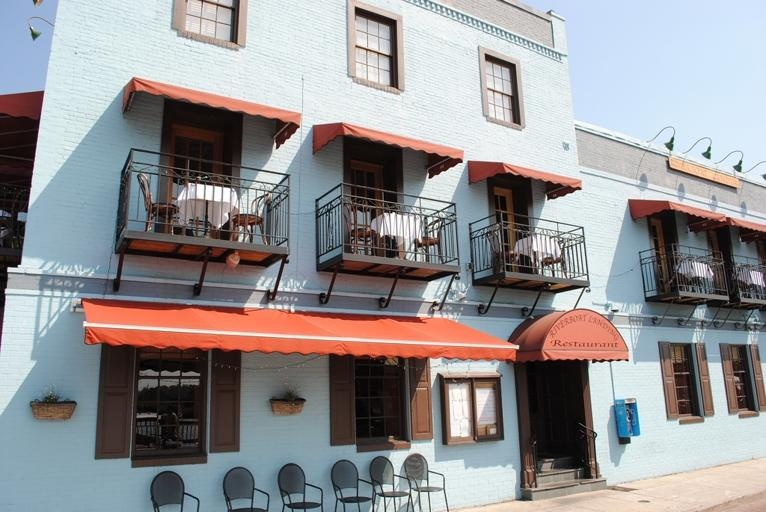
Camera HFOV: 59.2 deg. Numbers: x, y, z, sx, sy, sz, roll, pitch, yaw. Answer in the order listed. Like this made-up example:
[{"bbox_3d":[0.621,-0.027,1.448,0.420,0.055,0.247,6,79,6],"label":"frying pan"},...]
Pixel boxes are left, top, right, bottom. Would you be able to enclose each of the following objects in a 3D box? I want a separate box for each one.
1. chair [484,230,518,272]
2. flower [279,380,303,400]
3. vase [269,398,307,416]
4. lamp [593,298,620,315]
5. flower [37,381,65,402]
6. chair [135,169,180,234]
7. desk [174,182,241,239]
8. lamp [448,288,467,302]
[{"bbox_3d":[3.406,-0.092,19.720,0.712,1.280,0.760,-13,-18,-8],"label":"chair"},{"bbox_3d":[-2.319,3.393,17.023,0.587,0.612,0.454,7,-17,-30],"label":"flower"},{"bbox_3d":[-2.383,3.739,16.628,0.827,0.395,0.264,1,-15,-10],"label":"vase"},{"bbox_3d":[7.090,1.643,21.779,1.429,0.512,0.405,10,-2,-34],"label":"lamp"},{"bbox_3d":[-7.339,3.053,14.960,0.385,0.382,0.434,6,-39,-32],"label":"flower"},{"bbox_3d":[-5.323,-1.290,15.875,0.911,1.749,1.316,3,-15,-17],"label":"chair"},{"bbox_3d":[-4.130,-1.164,15.866,1.410,1.154,0.780,2,-15,-13],"label":"desk"},{"bbox_3d":[2.150,1.142,19.239,0.634,0.358,0.140,6,-16,-26],"label":"lamp"}]
